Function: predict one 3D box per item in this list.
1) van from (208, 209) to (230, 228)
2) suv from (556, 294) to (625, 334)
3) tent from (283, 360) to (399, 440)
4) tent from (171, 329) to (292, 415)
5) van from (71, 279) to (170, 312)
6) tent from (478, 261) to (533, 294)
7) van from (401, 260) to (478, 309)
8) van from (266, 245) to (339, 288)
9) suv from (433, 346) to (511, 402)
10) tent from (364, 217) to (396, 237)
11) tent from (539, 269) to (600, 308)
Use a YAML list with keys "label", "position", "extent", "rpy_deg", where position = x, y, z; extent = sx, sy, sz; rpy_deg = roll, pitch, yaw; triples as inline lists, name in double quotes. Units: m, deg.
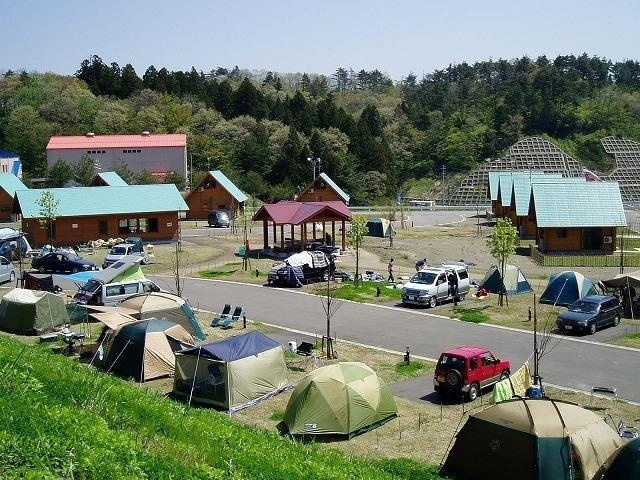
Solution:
- label: "van"
  position: [-10.359, -2.162, 74.219]
  extent: [1.353, 1.347, 2.107]
  rpy_deg: [3, 9, 13]
- label: "suv"
  position: [13.528, 3.674, 35.390]
  extent: [3.867, 1.577, 1.960]
  rpy_deg: [-5, 6, -38]
- label: "tent"
  position: [0.825, 5.375, 24.808]
  extent: [4.415, 1.919, 3.226]
  rpy_deg: [-6, 6, -39]
- label: "tent"
  position: [-3.226, 4.854, 25.866]
  extent: [3.898, 2.699, 1.772]
  rpy_deg: [1, 0, -12]
- label: "van"
  position: [-10.001, 2.930, 35.100]
  extent: [2.418, 1.549, 3.420]
  rpy_deg: [5, 7, 41]
- label: "tent"
  position: [11.304, 2.440, 42.949]
  extent: [2.146, 1.824, 2.648]
  rpy_deg: [-9, 7, -40]
- label: "van"
  position: [6.634, 2.556, 40.200]
  extent: [4.129, 2.144, 2.031]
  rpy_deg: [-3, 5, -44]
- label: "van"
  position: [-1.053, 1.783, 45.037]
  extent: [2.406, 1.957, 4.370]
  rpy_deg: [0, 4, 39]
- label: "suv"
  position: [5.817, 4.971, 26.970]
  extent: [3.140, 1.757, 1.658]
  rpy_deg: [-6, 6, -42]
- label: "tent"
  position: [5.961, -1.086, 68.524]
  extent: [2.151, 1.592, 2.181]
  rpy_deg: [-1, 7, -35]
- label: "tent"
  position: [13.869, 2.960, 39.809]
  extent: [2.576, 2.111, 2.360]
  rpy_deg: [-1, 6, 18]
